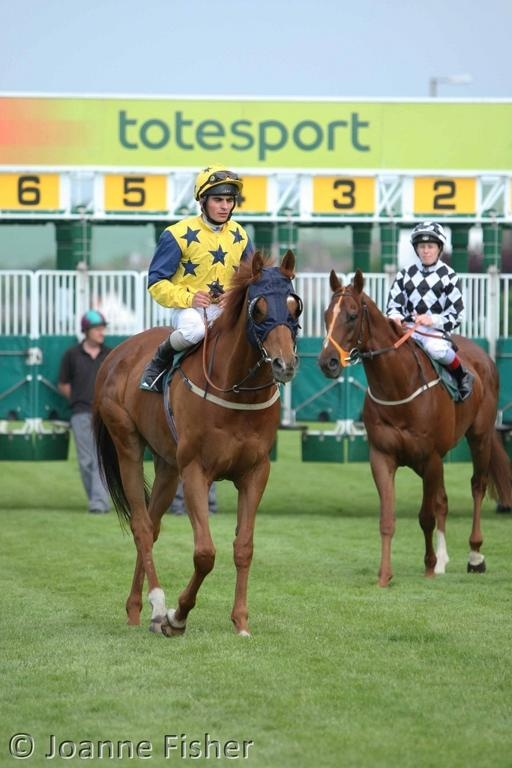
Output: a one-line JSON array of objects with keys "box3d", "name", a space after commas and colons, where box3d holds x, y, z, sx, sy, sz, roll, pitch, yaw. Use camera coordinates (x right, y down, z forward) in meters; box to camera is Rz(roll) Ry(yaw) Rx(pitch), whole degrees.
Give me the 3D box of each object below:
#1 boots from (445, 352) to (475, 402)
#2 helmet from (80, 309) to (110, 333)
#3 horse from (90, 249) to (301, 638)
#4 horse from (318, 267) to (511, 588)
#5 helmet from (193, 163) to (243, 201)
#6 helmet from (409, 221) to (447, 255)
[{"box3d": [1.058, -0.021, 7.348, 0.065, 0.223, 0.146, -14, -13, -16], "name": "boots"}, {"box3d": [-1.068, -0.414, 9.366, 0.112, 0.141, 0.155, -2, 13, -18], "name": "helmet"}, {"box3d": [-0.218, 0.250, 5.846, 0.514, 1.569, 1.503, -1, 3, -26], "name": "horse"}, {"box3d": [0.882, 0.204, 7.370, 0.651, 1.544, 1.760, 2, 3, 24], "name": "horse"}, {"box3d": [-0.162, -0.846, 5.927, 0.207, 0.147, 0.175, 1, 3, 8], "name": "helmet"}, {"box3d": [0.890, -0.755, 7.287, 0.107, 0.142, 0.163, -1, -11, 8], "name": "helmet"}]
